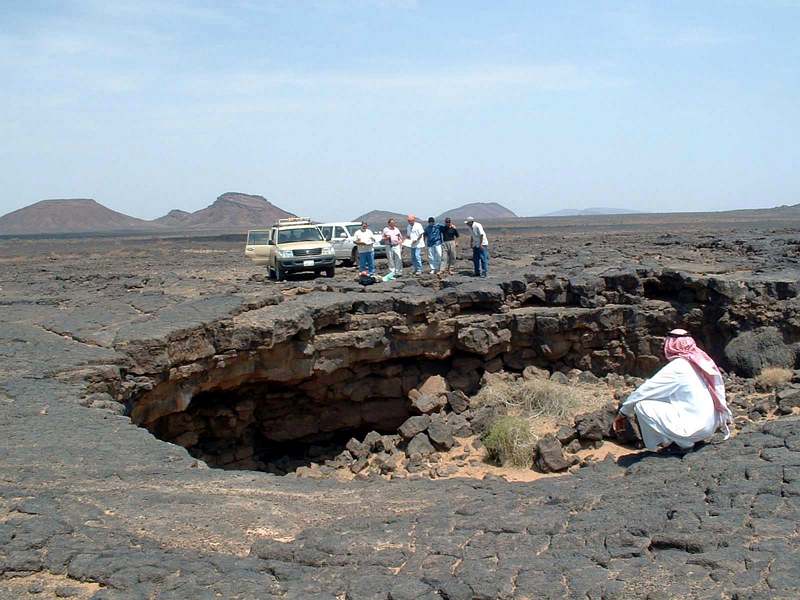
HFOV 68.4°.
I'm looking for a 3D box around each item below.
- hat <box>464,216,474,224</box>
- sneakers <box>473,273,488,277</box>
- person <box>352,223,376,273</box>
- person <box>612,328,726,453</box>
[{"bbox_3d":[2.019,-2.387,17.371,0.438,0.143,0.241,1,4,4],"label":"hat"},{"bbox_3d":[2.421,-0.815,18.074,0.346,0.139,0.268,0,1,3],"label":"sneakers"},{"bbox_3d":[-1.157,-1.689,19.029,0.644,1.706,1.492,-14,8,-2],"label":"person"},{"bbox_3d":[3.818,1.250,8.114,1.222,1.581,0.803,-12,8,-7],"label":"person"}]
